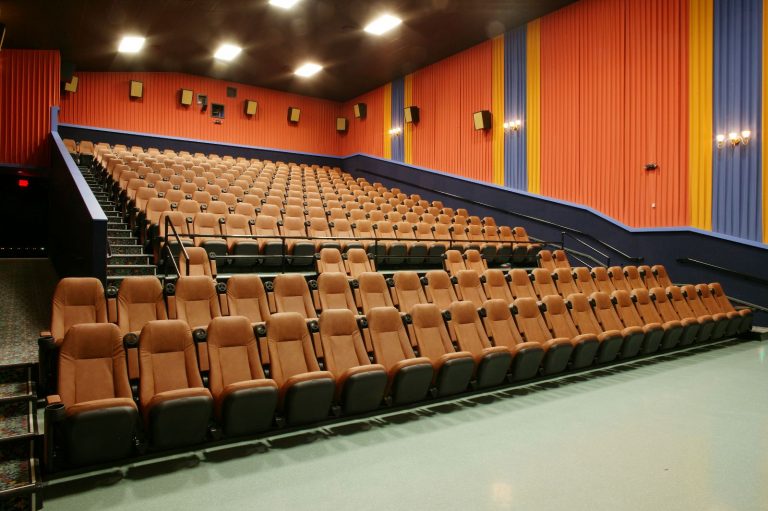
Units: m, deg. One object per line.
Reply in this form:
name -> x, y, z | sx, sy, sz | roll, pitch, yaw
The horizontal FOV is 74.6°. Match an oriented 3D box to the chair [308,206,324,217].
chair -> -0.818, -0.531, 6.178 | 0.135, 0.125, 0.132 | 2, -6, -18

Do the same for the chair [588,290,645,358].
chair -> 2.243, 0.657, 4.667 | 0.585, 0.528, 0.330 | 25, -9, -9

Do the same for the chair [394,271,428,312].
chair -> 0.215, 0.300, 4.406 | 0.260, 0.422, 0.340 | -1, -2, -19

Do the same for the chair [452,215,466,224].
chair -> 1.099, -0.516, 7.262 | 0.139, 0.125, 0.141 | 2, -9, -10

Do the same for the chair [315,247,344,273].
chair -> -0.512, 0.051, 4.917 | 0.201, 0.309, 0.254 | 2, -8, -20

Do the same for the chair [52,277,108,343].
chair -> -2.031, 0.394, 3.401 | 0.442, 0.512, 0.413 | 1, -7, -37

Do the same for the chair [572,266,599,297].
chair -> 2.198, 0.278, 5.527 | 0.215, 0.343, 0.317 | -5, 2, -12

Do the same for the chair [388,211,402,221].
chair -> 0.156, -0.500, 6.755 | 0.148, 0.129, 0.142 | 5, -13, -21

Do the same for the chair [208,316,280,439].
chair -> -0.914, 0.774, 3.247 | 0.388, 0.764, 0.419 | -4, 0, -23

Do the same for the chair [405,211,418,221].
chair -> 0.377, -0.520, 6.792 | 0.127, 0.121, 0.118 | 3, -8, -21

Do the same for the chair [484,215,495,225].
chair -> 1.590, -0.520, 7.594 | 0.148, 0.136, 0.153 | 2, -13, -1

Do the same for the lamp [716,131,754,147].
lamp -> 4.139, -1.368, 5.921 | 0.063, 0.118, 0.204 | 8, -8, -40

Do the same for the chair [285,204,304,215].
chair -> -1.063, -0.543, 6.079 | 0.146, 0.154, 0.134 | 1, 6, 6

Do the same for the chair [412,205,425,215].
chair -> 0.513, -0.666, 7.410 | 0.165, 0.168, 0.171 | 7, -12, -2

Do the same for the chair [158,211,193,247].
chair -> -1.979, -0.241, 4.794 | 0.251, 0.417, 0.336 | 4, -24, -37

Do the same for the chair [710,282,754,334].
chair -> 3.874, 0.591, 5.628 | 0.363, 0.533, 0.407 | -8, 2, -29

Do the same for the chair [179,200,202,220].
chair -> -2.054, -0.506, 5.382 | 0.219, 0.197, 0.206 | -2, 12, -39

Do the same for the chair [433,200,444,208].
chair -> 0.915, -0.842, 8.399 | 0.164, 0.153, 0.169 | 2, -8, -5

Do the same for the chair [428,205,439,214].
chair -> 0.760, -0.693, 7.774 | 0.145, 0.130, 0.141 | 5, -4, -22

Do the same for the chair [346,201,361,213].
chair -> -0.403, -0.684, 6.971 | 0.178, 0.209, 0.186 | -2, 10, -23

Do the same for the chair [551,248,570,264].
chair -> 2.178, 0.015, 6.229 | 0.160, 0.246, 0.218 | -2, 5, -25

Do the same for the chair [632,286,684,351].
chair -> 2.795, 0.598, 5.011 | 0.363, 0.494, 0.422 | -17, 6, -16

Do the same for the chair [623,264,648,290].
chair -> 2.880, 0.258, 5.821 | 0.193, 0.336, 0.310 | -3, 2, -9

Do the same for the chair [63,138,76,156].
chair -> -4.764, -1.663, 7.700 | 0.154, 0.278, 0.594 | -4, -1, -31

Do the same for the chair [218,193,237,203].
chair -> -1.892, -0.690, 6.141 | 0.142, 0.142, 0.125 | 5, -7, -28

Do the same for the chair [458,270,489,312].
chair -> 0.823, 0.308, 4.774 | 0.267, 0.413, 0.333 | 2, -9, -21

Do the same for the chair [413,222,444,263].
chair -> 0.524, -0.160, 6.051 | 0.288, 0.546, 0.504 | 0, 4, -21

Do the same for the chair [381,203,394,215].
chair -> 0.053, -0.659, 7.176 | 0.146, 0.190, 0.155 | 4, -8, -31

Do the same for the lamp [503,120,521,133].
lamp -> 2.029, -2.036, 7.897 | 0.058, 0.189, 0.316 | -4, -1, -40

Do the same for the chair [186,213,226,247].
chair -> -1.774, -0.242, 5.009 | 0.214, 0.338, 0.278 | 6, -39, -30

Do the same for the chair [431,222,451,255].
chair -> 0.725, -0.230, 6.184 | 0.218, 0.398, 0.372 | 1, -2, -6

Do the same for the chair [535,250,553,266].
chair -> 1.929, 0.038, 6.188 | 0.160, 0.230, 0.211 | 2, -5, -12

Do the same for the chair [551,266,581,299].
chair -> 1.940, 0.275, 5.393 | 0.216, 0.372, 0.346 | 0, -4, -14

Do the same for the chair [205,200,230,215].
chair -> -1.842, -0.528, 5.628 | 0.193, 0.171, 0.157 | -4, 31, -41

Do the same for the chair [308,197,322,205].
chair -> -0.911, -0.720, 6.847 | 0.209, 0.108, 0.139 | -5, -1, -34

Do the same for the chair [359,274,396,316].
chair -> -0.089, 0.302, 4.283 | 0.250, 0.409, 0.333 | 2, -6, -20

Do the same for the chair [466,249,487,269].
chair -> 1.030, 0.052, 5.663 | 0.353, 0.244, 0.140 | -4, 0, -41

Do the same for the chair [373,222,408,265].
chair -> -0.012, -0.149, 5.753 | 0.338, 0.554, 0.509 | 1, -2, -20

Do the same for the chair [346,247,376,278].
chair -> -0.244, 0.064, 4.969 | 0.239, 0.343, 0.281 | 1, -6, -22

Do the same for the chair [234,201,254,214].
chair -> -1.569, -0.522, 5.724 | 0.164, 0.146, 0.139 | 4, 1, -39

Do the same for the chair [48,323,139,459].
chair -> -1.716, 0.814, 3.013 | 0.441, 0.718, 0.633 | 0, 8, -38

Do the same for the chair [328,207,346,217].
chair -> -0.573, -0.541, 6.399 | 0.210, 0.137, 0.346 | -5, -1, -3

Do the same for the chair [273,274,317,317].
chair -> -0.718, 0.314, 4.004 | 0.290, 0.428, 0.343 | 2, -8, -25

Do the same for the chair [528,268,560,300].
chair -> 1.592, 0.293, 5.292 | 0.245, 0.381, 0.320 | -1, -2, -16

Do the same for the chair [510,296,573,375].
chair -> 1.333, 0.658, 4.228 | 0.367, 0.539, 0.514 | -5, 9, -22

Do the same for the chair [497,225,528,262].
chair -> 1.710, -0.157, 6.644 | 0.413, 0.614, 0.556 | 1, 0, -6

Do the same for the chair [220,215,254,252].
chair -> -1.484, -0.212, 5.084 | 0.258, 0.420, 0.341 | 4, -26, -29

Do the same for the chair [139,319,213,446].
chair -> -1.291, 0.786, 3.112 | 0.383, 0.777, 0.419 | -4, 0, -29

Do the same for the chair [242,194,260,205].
chair -> -1.605, -0.679, 6.191 | 0.146, 0.142, 0.138 | 9, -13, -22

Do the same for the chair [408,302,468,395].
chair -> 0.508, 0.673, 3.771 | 0.451, 0.674, 0.554 | 0, -11, -41

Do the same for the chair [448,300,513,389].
chair -> 0.747, 0.676, 3.930 | 0.373, 0.614, 0.472 | -4, 0, -29

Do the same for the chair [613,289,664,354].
chair -> 2.530, 0.585, 4.805 | 0.249, 0.418, 0.329 | -11, 15, 9

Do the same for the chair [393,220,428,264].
chair -> 0.275, -0.133, 5.892 | 0.358, 0.535, 0.501 | 1, 1, -21

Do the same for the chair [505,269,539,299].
chair -> 1.380, 0.281, 5.092 | 0.222, 0.387, 0.355 | -1, -3, -19

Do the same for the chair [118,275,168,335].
chair -> -1.713, 0.362, 3.780 | 0.325, 0.479, 0.385 | 2, -5, -26

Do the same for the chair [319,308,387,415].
chair -> -0.217, 0.728, 3.536 | 0.436, 0.645, 0.542 | 0, 3, -20

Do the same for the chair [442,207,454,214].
chair -> 0.997, -0.694, 7.840 | 0.154, 0.139, 0.112 | 5, -12, -28

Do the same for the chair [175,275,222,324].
chair -> -1.398, 0.350, 3.783 | 0.304, 0.446, 0.345 | 4, -15, -26

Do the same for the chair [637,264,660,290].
chair -> 3.097, 0.248, 5.928 | 0.229, 0.329, 0.274 | -2, -5, -11
